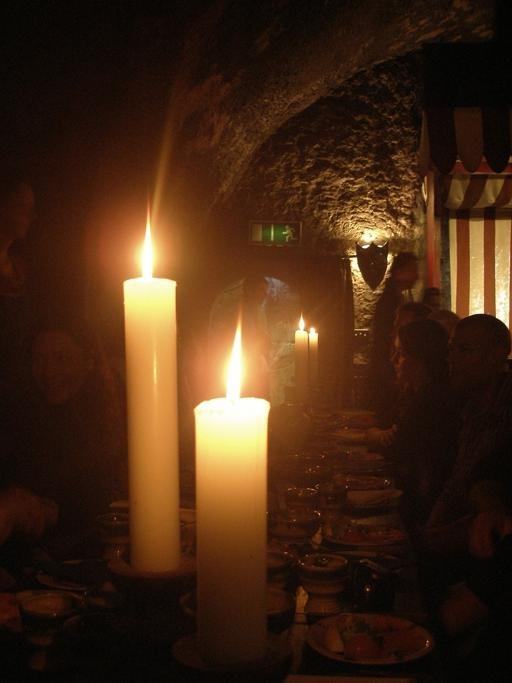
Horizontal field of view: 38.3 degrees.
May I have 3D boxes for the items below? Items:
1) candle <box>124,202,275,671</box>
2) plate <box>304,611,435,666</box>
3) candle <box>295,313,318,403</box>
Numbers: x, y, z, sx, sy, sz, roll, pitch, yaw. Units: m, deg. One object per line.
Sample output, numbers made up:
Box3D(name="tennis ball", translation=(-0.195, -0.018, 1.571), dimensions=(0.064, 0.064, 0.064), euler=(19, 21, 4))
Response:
Box3D(name="candle", translation=(-0.070, 0.107, 0.952), dimensions=(0.126, 0.545, 0.239), euler=(3, -3, -42))
Box3D(name="plate", translation=(0.160, 0.418, 1.034), dimensions=(0.175, 0.033, 0.124), euler=(1, -2, 3))
Box3D(name="candle", translation=(0.132, 0.053, 1.898), dimensions=(0.060, 0.226, 0.127), euler=(1, -2, 3))
